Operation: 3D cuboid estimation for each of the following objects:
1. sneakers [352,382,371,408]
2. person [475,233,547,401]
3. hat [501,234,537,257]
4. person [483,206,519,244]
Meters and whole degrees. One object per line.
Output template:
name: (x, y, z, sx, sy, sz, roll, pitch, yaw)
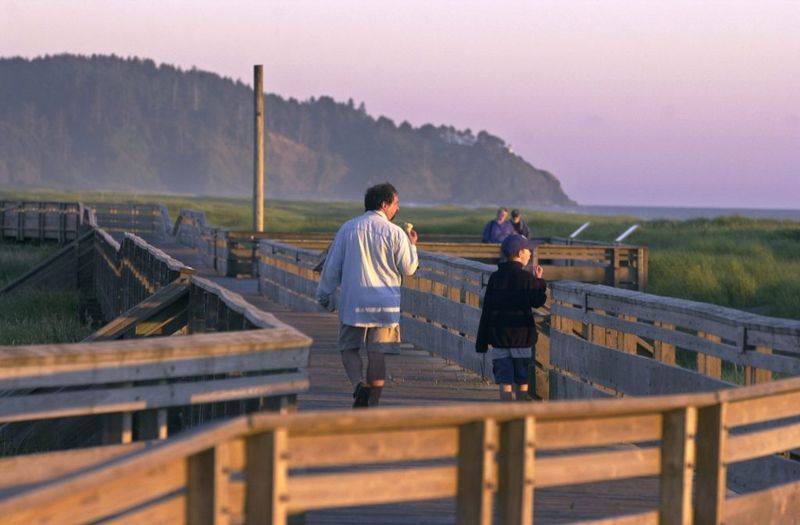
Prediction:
sneakers: (-0.779, 2.723, 30.242, 0.214, 0.580, 0.225, 3, 8, -8)
person: (2.226, 1.172, 30.568, 1.324, 3.288, 0.532, -3, 7, 2)
hat: (2.376, -0.269, 30.647, 0.544, 0.366, 0.393, -26, 23, -10)
person: (2.704, -0.837, 41.335, 0.786, 1.217, 0.659, 6, -18, -1)
